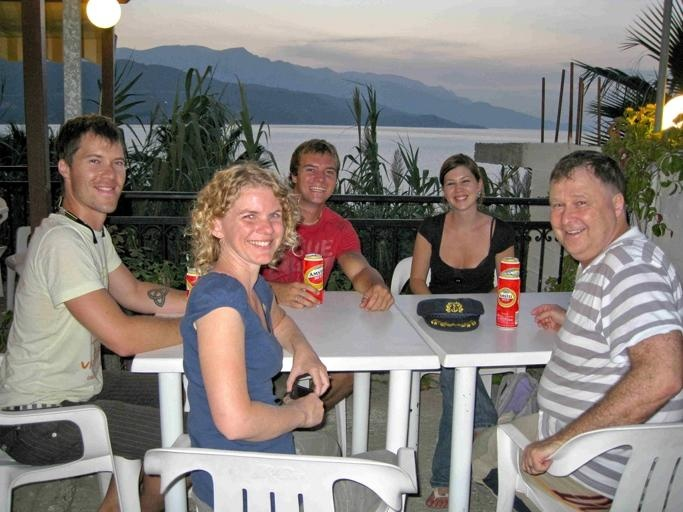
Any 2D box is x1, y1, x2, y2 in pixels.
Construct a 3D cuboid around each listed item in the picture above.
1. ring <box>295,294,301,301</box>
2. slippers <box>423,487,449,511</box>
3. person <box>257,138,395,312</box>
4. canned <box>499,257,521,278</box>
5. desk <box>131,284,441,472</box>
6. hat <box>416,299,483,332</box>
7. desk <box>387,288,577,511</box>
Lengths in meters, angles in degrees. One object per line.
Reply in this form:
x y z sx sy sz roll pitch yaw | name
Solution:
-0.224 0.217 2.941 0.032 0.030 0.008 -1 -4 -15 | ring
0.508 1.290 3.101 0.168 0.058 0.101 -7 13 -25 | slippers
-0.141 -0.135 3.375 0.711 1.028 0.961 8 4 -26 | person
0.803 0.053 2.770 0.101 0.098 0.102 1 7 -3 | canned
-0.211 0.426 2.537 0.954 0.974 0.973 -2 11 -8 | desk
0.543 0.271 2.868 0.338 0.145 0.411 0 6 9 | hat
0.523 0.655 2.944 0.891 0.881 0.903 -3 18 -5 | desk
